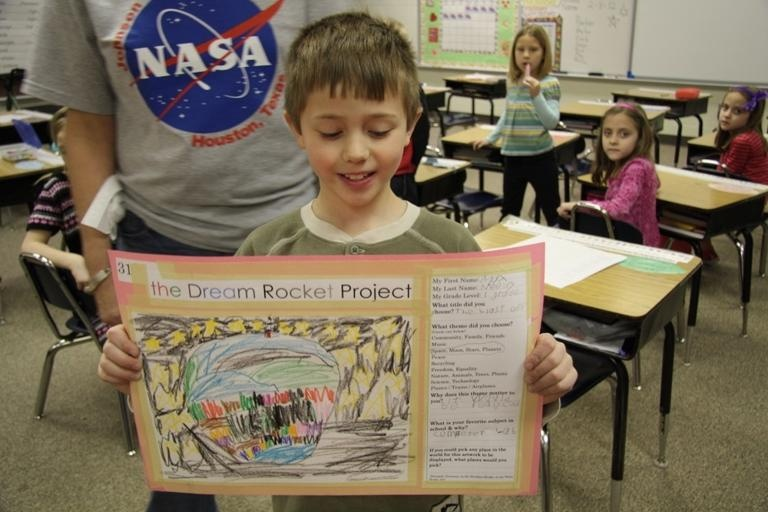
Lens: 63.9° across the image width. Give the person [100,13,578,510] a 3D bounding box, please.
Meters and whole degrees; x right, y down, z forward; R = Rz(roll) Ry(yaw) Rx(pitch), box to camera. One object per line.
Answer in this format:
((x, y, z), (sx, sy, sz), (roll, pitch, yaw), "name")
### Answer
((-0.098, 0.054, 1.515), (1.056, 1.213, 0.474), (-1, 24, 2), "person")
